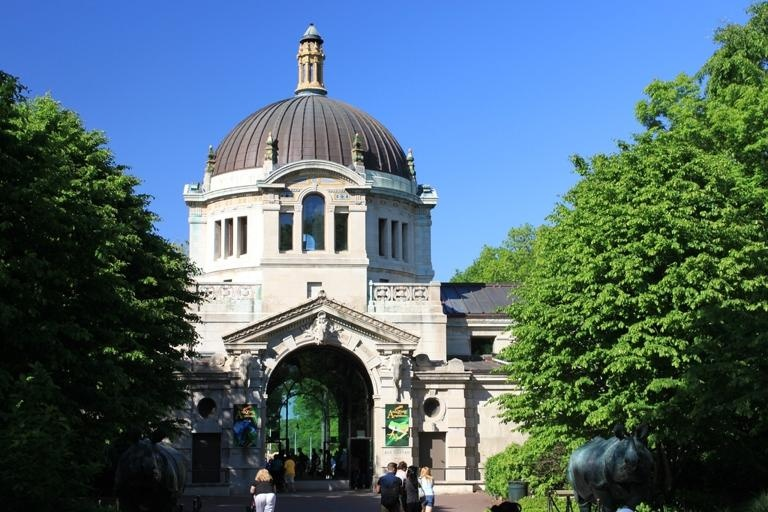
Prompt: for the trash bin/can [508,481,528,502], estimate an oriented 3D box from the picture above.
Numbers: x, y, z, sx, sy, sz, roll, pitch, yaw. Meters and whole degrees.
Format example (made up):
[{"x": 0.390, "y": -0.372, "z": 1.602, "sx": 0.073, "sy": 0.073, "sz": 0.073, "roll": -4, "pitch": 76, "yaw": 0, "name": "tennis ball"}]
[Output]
[{"x": 6.411, "y": 11.062, "z": 60.755, "sx": 0.884, "sy": 0.681, "sz": 0.906, "roll": 5, "pitch": -19, "yaw": -18, "name": "trash bin/can"}]
